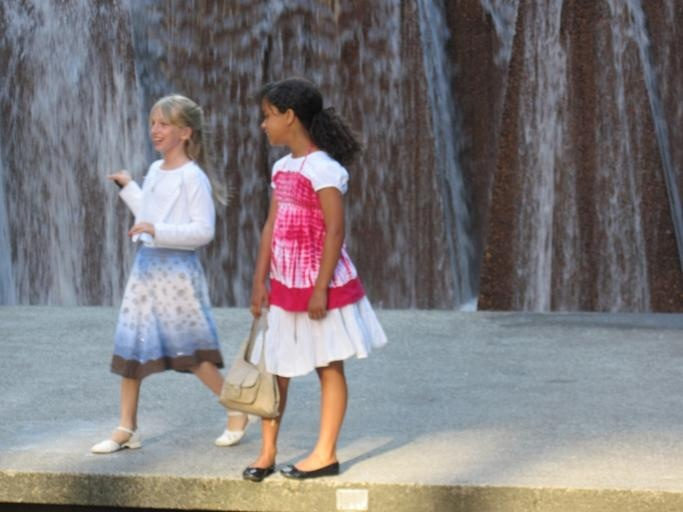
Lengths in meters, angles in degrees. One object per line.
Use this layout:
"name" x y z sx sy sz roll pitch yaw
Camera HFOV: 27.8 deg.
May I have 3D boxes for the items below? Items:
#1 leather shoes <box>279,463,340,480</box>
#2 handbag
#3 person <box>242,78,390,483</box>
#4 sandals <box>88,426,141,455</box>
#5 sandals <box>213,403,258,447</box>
"leather shoes" -0.254 1.791 11.243 0.470 0.175 0.176 5 -6 -4
"handbag" -0.761 0.905 11.389 0.492 0.901 0.291 0 -1 -4
"person" -0.244 0.187 11.371 1.004 3.313 0.331 0 -1 -4
"sandals" -1.912 1.572 11.665 0.477 0.227 0.175 -2 -9 -10
"sandals" -0.923 1.483 11.813 0.191 0.550 0.150 25 -21 16
